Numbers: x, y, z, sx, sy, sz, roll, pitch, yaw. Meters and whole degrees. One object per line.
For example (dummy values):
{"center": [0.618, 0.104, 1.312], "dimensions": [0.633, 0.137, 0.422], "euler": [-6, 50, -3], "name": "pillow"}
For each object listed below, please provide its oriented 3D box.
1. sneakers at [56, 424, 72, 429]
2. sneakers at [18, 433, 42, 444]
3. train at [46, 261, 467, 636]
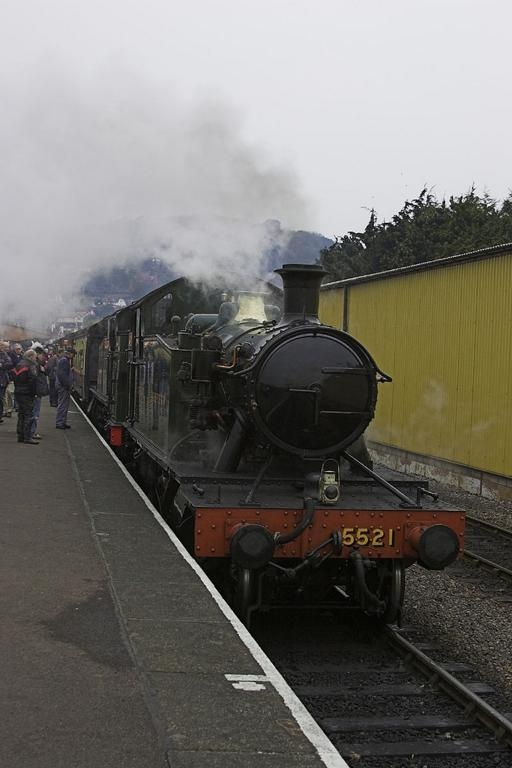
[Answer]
{"center": [-4.860, 1.064, 14.984], "dimensions": [0.314, 0.137, 0.107], "euler": [-5, 13, -40], "name": "sneakers"}
{"center": [-4.433, 1.076, 11.727], "dimensions": [0.538, 0.233, 0.183], "euler": [0, 1, 33], "name": "sneakers"}
{"center": [-0.277, 0.299, 6.591], "dimensions": [1.787, 3.648, 5.473], "euler": [9, -8, -20], "name": "train"}
